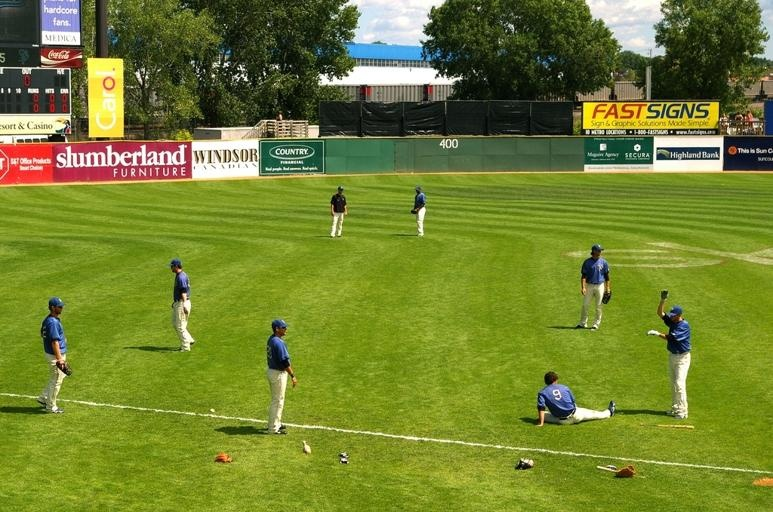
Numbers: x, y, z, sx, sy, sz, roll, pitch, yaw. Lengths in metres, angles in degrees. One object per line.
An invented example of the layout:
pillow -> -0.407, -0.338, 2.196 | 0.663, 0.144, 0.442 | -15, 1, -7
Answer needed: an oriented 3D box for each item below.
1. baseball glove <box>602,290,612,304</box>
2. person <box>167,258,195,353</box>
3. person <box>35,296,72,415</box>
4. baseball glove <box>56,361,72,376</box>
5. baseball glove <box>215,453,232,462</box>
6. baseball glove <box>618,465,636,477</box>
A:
baseball glove -> 7.597, 1.457, 42.160 | 0.350, 0.328, 0.505 | -1, -30, 8
person -> -6.720, 1.671, 40.014 | 0.605, 3.040, 0.570 | -3, 12, -9
person -> -10.013, 3.064, 36.724 | 1.198, 3.332, 1.321 | 1, 5, -26
baseball glove -> -9.546, 3.404, 36.147 | 0.501, 0.162, 0.303 | 10, -2, 33
baseball glove -> -4.702, 5.895, 35.076 | 0.276, 0.109, 0.350 | 3, 6, 2
baseball glove -> 6.797, 6.198, 34.711 | 0.403, 0.167, 0.335 | -4, -7, 29
